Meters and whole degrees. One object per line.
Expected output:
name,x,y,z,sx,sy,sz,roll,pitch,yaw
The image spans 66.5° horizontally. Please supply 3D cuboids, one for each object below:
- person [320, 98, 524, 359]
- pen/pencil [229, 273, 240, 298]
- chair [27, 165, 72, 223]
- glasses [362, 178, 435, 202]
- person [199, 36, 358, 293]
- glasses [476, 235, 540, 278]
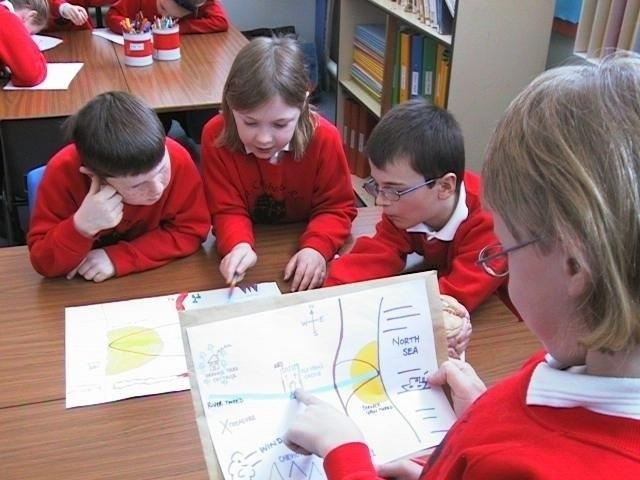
person,0.355,-0.091,1.501,0.935,0.596,0.372,-15,23,-40
pen/pencil,-0.225,0.124,1.290,0.010,0.010,0.081,20,60,-15
chair,-0.873,-0.168,1.573,0.124,0.171,0.131,10,33,-2
glasses,0.217,-0.145,1.400,0.097,0.030,0.098,-24,27,-17
person,-0.140,-0.245,1.575,0.434,0.687,0.746,-12,38,-20
glasses,0.260,0.022,0.700,0.055,0.020,0.056,-12,22,39
